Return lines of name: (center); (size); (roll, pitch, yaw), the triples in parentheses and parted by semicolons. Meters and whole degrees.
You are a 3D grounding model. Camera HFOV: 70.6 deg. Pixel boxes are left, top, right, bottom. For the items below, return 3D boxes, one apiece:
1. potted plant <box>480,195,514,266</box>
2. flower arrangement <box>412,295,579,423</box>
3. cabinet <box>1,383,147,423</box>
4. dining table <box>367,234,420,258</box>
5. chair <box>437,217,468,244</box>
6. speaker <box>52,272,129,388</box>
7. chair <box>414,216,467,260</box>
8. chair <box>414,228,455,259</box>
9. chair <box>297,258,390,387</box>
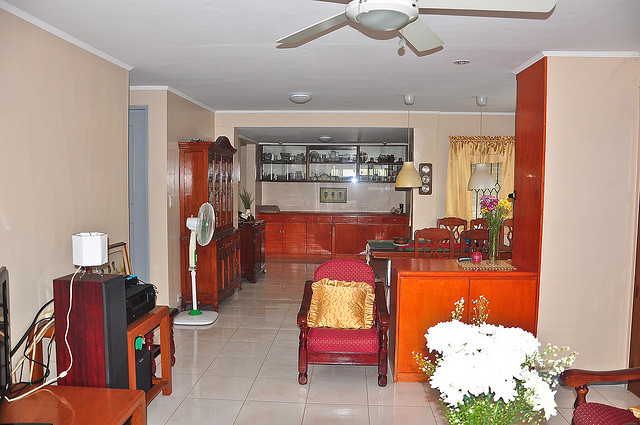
potted plant: (1.777, 0.183, 4.695); (0.427, 0.725, 0.341); (-1, -12, 10)
flower arrangement: (1.065, 0.943, 2.975); (1.022, 0.660, 0.902); (1, -7, -4)
cabinet: (-1.703, 1.308, 3.085); (0.489, 0.209, 0.314); (2, 1, -8)
dining table: (1.040, 0.473, 6.433); (0.705, 0.236, 0.877); (1, 13, 4)
chair: (2.050, 0.293, 6.980); (0.416, 0.684, 0.420); (-1, -6, 17)
speaker: (-1.860, 0.983, 3.623); (0.550, 0.976, 0.383); (2, 14, 7)
chair: (1.721, 0.369, 6.357); (0.519, 0.850, 0.519); (0, 10, -2)
chair: (1.557, 0.405, 6.082); (0.510, 0.430, 0.833); (4, 14, 17)
chair: (0.249, 1.144, 4.792); (0.913, 1.114, 0.732); (1, 14, 3)
